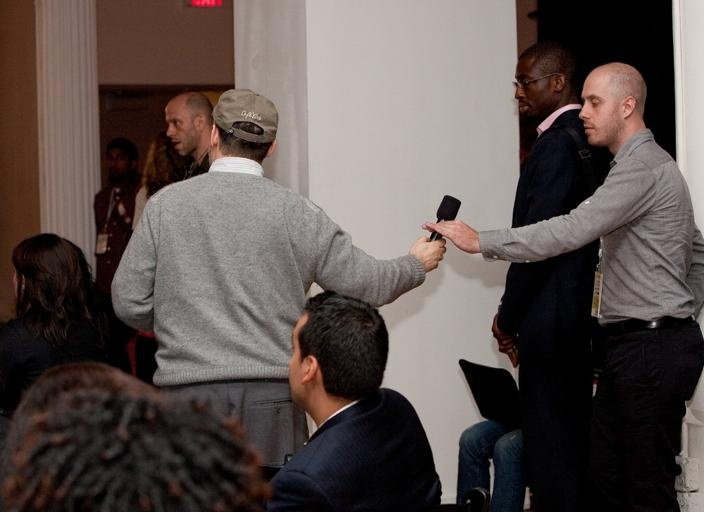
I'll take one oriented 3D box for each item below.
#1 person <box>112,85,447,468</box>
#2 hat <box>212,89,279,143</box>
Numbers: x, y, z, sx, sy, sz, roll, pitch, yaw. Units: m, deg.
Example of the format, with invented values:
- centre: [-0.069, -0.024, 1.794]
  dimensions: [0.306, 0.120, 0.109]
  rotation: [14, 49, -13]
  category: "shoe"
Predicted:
- centre: [-0.274, 0.347, 3.108]
  dimensions: [1.290, 2.146, 0.665]
  rotation: [1, 29, -12]
  category: "person"
- centre: [-0.396, -0.553, 2.808]
  dimensions: [0.252, 0.172, 0.353]
  rotation: [10, 15, -12]
  category: "hat"
